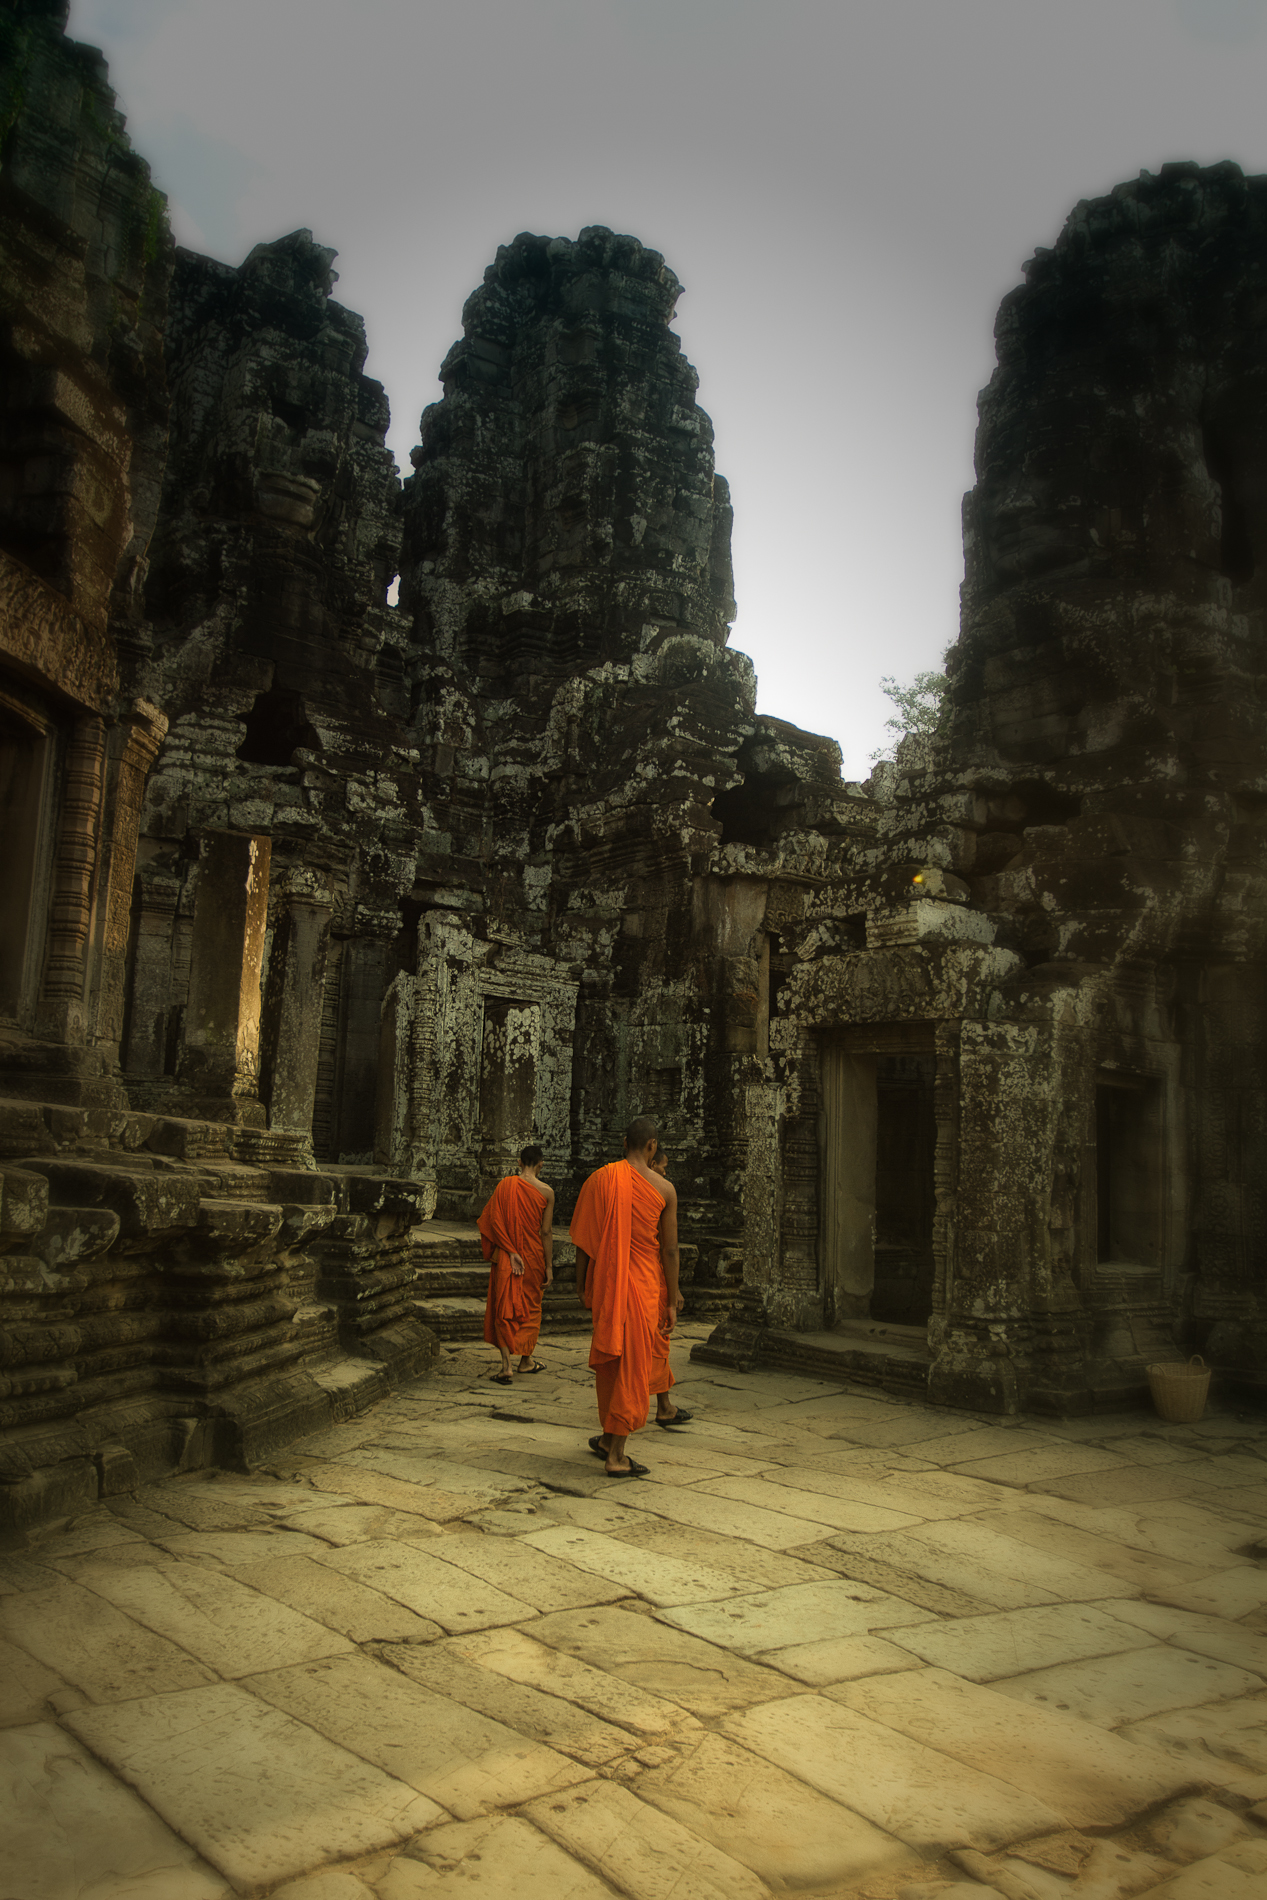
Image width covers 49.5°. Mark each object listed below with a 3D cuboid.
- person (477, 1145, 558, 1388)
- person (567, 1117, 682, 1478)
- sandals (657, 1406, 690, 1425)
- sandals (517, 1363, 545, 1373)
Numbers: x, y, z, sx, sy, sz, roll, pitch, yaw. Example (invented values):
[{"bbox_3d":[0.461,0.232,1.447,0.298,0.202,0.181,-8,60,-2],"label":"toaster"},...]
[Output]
[{"bbox_3d":[-0.658,1.693,7.565,0.378,1.200,1.011,4,-8,-6],"label":"person"},{"bbox_3d":[-0.056,1.339,5.427,0.428,1.299,0.721,3,-8,2],"label":"person"},{"bbox_3d":[0.184,2.081,6.137,0.063,0.065,0.164,2,-1,30],"label":"sandals"},{"bbox_3d":[-0.559,2.250,7.403,0.098,0.043,0.128,2,-4,6],"label":"sandals"}]
